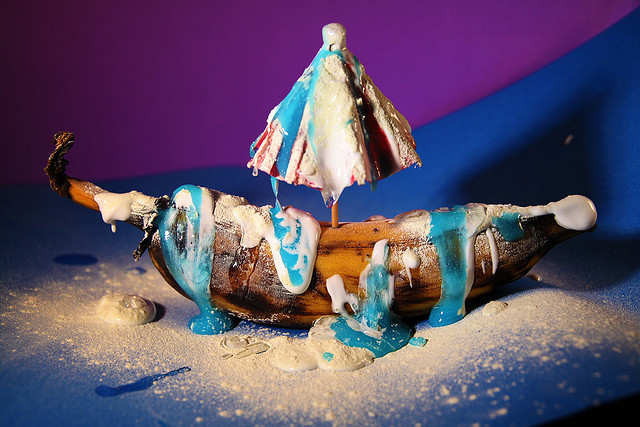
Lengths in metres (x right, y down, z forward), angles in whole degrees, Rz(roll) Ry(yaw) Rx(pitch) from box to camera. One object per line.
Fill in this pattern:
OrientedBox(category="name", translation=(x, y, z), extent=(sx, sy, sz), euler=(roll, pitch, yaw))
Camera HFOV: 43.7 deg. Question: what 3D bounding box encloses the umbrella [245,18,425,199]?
OrientedBox(category="umbrella", translation=(0.090, -0.360, 2.789), extent=(0.622, 0.478, 0.632), euler=(6, 16, 24))
